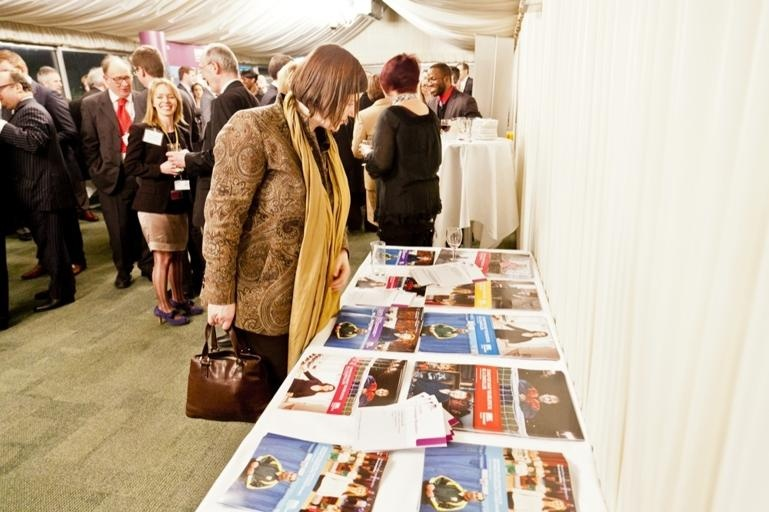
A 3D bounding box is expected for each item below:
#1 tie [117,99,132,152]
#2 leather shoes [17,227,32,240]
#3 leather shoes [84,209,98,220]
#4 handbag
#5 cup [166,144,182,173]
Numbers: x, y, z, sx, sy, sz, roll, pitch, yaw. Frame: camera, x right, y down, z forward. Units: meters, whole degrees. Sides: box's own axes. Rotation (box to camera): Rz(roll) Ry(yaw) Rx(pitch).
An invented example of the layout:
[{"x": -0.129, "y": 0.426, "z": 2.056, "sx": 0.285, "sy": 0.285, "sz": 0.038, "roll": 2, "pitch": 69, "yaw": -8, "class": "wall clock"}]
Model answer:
[{"x": -2.225, "y": -1.096, "z": 4.163, "sx": 0.124, "sy": 0.467, "sz": 0.043, "roll": 1, "pitch": 12, "yaw": -2, "class": "tie"}, {"x": -3.926, "y": -0.231, "z": 5.314, "sx": 0.097, "sy": 0.110, "sz": 0.281, "roll": -5, "pitch": 11, "yaw": -45, "class": "leather shoes"}, {"x": -3.885, "y": -0.524, "z": 6.433, "sx": 0.133, "sy": 0.158, "sz": 0.380, "roll": -2, "pitch": 6, "yaw": -35, "class": "leather shoes"}, {"x": -0.520, "y": 0.423, "z": 1.649, "sx": 0.332, "sy": 0.275, "sz": 0.128, "roll": -3, "pitch": 8, "yaw": 16, "class": "handbag"}, {"x": -1.368, "y": -0.643, "z": 3.263, "sx": 0.148, "sy": 0.187, "sz": 0.083, "roll": 7, "pitch": 6, "yaw": 34, "class": "cup"}]
